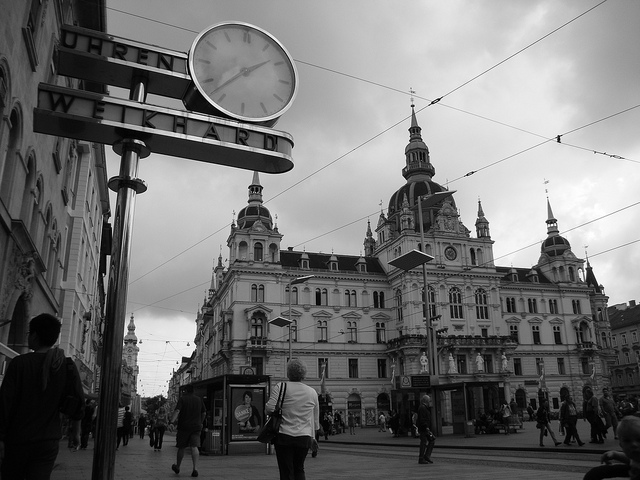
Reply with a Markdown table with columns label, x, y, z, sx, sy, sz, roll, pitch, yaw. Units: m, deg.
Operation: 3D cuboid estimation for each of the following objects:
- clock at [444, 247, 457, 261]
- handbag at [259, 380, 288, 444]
| label | x | y | z | sx | sy | sz | roll | pitch | yaw |
| --- | --- | --- | --- | --- | --- | --- | --- | --- | --- |
| clock | 12.126 | 1.287 | 66.891 | 1.309 | 1.295 | 0.238 | 12 | -24 | -26 |
| handbag | -0.856 | 3.062 | 12.737 | 0.214 | 0.973 | 0.550 | 11 | -20 | 0 |
